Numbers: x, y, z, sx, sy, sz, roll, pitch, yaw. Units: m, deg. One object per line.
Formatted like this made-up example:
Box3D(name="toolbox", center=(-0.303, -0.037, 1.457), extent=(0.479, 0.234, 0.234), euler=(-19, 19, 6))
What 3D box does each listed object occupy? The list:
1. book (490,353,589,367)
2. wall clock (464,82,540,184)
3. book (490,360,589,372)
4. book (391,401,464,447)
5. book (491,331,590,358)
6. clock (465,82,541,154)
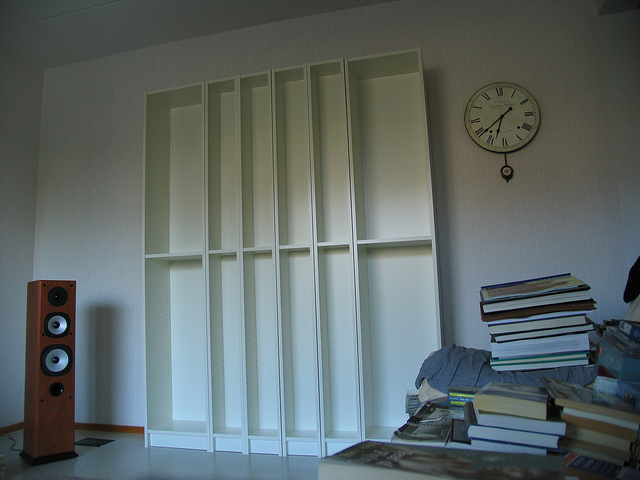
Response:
Box3D(name="book", center=(0.803, 0.431, 1.969), extent=(0.133, 0.020, 0.141), euler=(0, -4, -18))
Box3D(name="wall clock", center=(1.280, -0.741, 3.723), extent=(0.505, 0.695, 0.158), euler=(1, -2, 22))
Box3D(name="book", center=(0.808, 0.453, 1.966), extent=(0.326, 0.042, 0.032), euler=(-2, -3, 9))
Box3D(name="book", center=(0.424, 0.658, 1.990), extent=(0.191, 0.059, 0.345), euler=(2, 11, 25))
Box3D(name="book", center=(0.803, 0.380, 1.972), extent=(0.336, 0.092, 0.027), euler=(-2, -3, 11))
Box3D(name="clock", center=(1.285, -0.841, 3.722), extent=(0.494, 0.507, 0.055), euler=(1, -3, 5))
